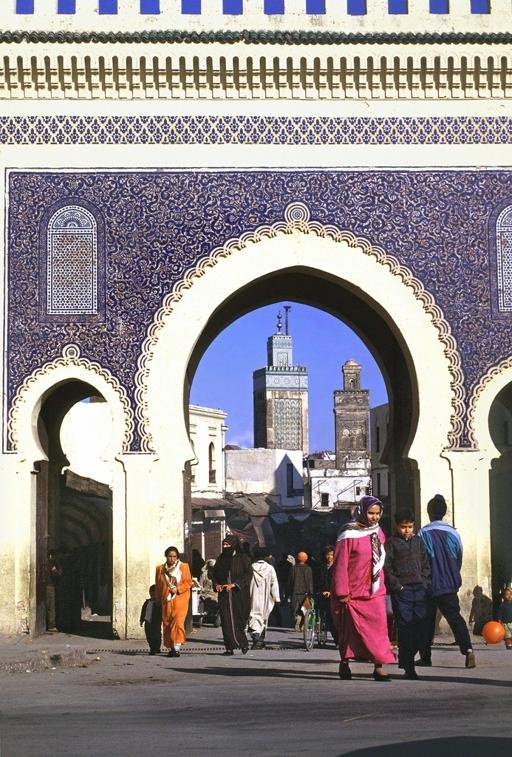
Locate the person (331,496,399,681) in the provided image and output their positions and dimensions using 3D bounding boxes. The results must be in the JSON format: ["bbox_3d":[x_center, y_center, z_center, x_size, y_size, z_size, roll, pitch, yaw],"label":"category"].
[{"bbox_3d":[0.705,1.354,11.010,0.421,1.170,0.330,3,-5,-23],"label":"person"}]

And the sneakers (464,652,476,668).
[{"bbox_3d":[1.462,1.911,11.502,0.047,0.067,0.162,0,-51,-2],"label":"sneakers"}]

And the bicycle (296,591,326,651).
[{"bbox_3d":[0.461,2.035,14.267,0.245,0.383,0.585,-4,-18,-4],"label":"bicycle"}]

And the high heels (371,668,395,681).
[{"bbox_3d":[0.827,1.919,11.001,0.116,0.087,0.225,-2,-8,5],"label":"high heels"}]

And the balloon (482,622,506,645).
[{"bbox_3d":[1.635,1.737,11.600,0.123,0.137,0.285,-3,-8,11],"label":"balloon"}]
